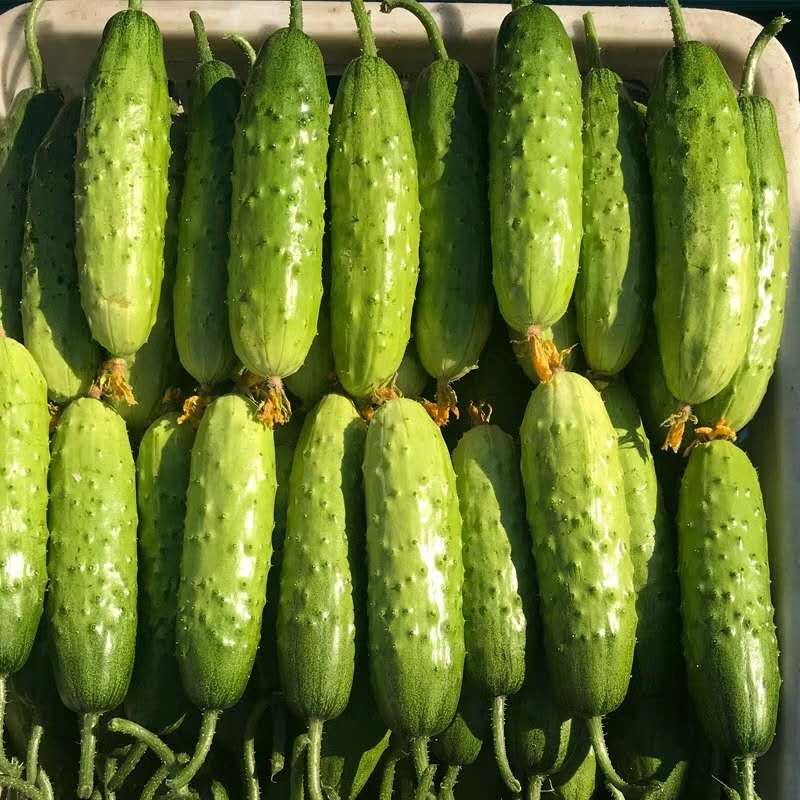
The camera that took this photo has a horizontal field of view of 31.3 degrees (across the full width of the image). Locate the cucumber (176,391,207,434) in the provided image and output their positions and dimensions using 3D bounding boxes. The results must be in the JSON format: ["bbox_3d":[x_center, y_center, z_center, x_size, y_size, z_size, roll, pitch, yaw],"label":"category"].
[{"bbox_3d":[-0.617,0.021,4.215,0.066,0.119,0.055,20,28,-7],"label":"cucumber"}]

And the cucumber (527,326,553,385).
[{"bbox_3d":[0.412,-0.133,4.216,0.070,0.177,0.053,-3,1,-19],"label":"cucumber"}]

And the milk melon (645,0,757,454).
[{"bbox_3d":[0.875,-0.495,4.158,0.192,1.541,0.260,4,-13,-9],"label":"milk melon"}]

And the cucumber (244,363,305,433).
[{"bbox_3d":[-0.379,-0.032,4.187,0.099,0.092,0.194,7,37,-37],"label":"cucumber"}]

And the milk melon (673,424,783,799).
[{"bbox_3d":[0.926,0.584,4.071,0.216,1.163,0.286,-4,-13,7],"label":"milk melon"}]

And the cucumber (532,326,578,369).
[{"bbox_3d":[0.448,-0.155,4.227,0.096,0.159,0.091,-8,-33,-10],"label":"cucumber"}]

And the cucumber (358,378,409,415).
[{"bbox_3d":[-0.051,-0.012,4.229,0.115,0.050,0.092,-38,-5,-24],"label":"cucumber"}]

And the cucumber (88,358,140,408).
[{"bbox_3d":[-0.848,-0.058,4.217,0.097,0.162,0.073,5,-27,-6],"label":"cucumber"}]
